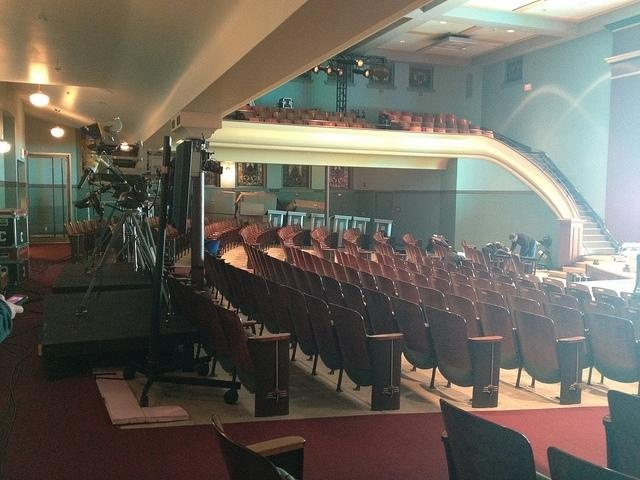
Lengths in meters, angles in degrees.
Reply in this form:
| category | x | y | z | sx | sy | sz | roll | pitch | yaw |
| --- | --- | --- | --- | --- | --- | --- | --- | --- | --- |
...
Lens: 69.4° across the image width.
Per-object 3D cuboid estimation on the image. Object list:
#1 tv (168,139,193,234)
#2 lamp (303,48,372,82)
| category | x | y | z | sx | sy | sz | roll | pitch | yaw |
| --- | --- | --- | --- | --- | --- | --- | --- | --- | --- |
| tv | -1.296 | -0.481 | 4.293 | 0.198 | 0.844 | 0.553 | -1 | 9 | -18 |
| lamp | 0.982 | -6.910 | 18.191 | 2.835 | 1.176 | 2.330 | 0 | 8 | -11 |
